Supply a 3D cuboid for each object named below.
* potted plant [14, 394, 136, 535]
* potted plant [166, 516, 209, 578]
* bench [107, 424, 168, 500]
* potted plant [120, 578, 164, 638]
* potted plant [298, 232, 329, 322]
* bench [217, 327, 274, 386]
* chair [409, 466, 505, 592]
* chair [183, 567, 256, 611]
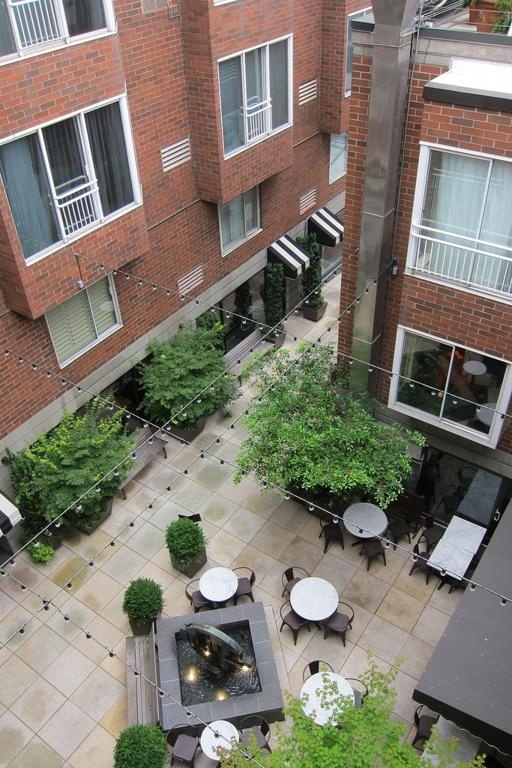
[{"bbox_3d":[-4.180,2.442,12.490,2.650,2.907,1.604,-26,40,-30],"label":"potted plant"},{"bbox_3d":[-1.570,3.704,11.824,0.794,0.979,0.832,11,-5,-10],"label":"potted plant"},{"bbox_3d":[-3.068,2.070,13.752,0.674,1.157,1.831,25,58,8],"label":"bench"},{"bbox_3d":[-2.256,4.641,10.804,0.987,1.255,1.040,-3,32,-9],"label":"potted plant"},{"bbox_3d":[2.092,-3.898,19.533,0.890,2.794,2.059,0,34,4],"label":"potted plant"},{"bbox_3d":[-0.350,-1.136,18.166,1.181,0.463,2.407,12,38,19],"label":"bench"},{"bbox_3d":[4.534,3.201,11.929,1.261,2.039,2.299,27,45,36],"label":"chair"},{"bbox_3d":[-0.755,4.441,11.717,1.586,0.799,0.920,-10,35,-9],"label":"chair"}]
